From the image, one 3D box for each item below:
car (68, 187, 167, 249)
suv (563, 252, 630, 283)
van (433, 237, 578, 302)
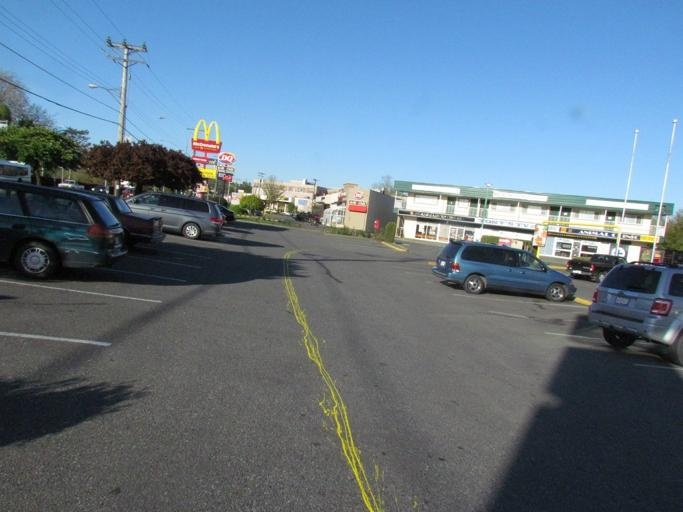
[{"bbox_3d":[-7.588,-1.283,15.913,4.089,1.375,1.629,8,3,1],"label":"car"},{"bbox_3d":[13.839,0.623,25.739,2.791,1.033,1.547,-6,8,-27],"label":"suv"},{"bbox_3d":[6.143,0.490,17.547,4.697,1.904,2.209,0,5,-11],"label":"van"}]
